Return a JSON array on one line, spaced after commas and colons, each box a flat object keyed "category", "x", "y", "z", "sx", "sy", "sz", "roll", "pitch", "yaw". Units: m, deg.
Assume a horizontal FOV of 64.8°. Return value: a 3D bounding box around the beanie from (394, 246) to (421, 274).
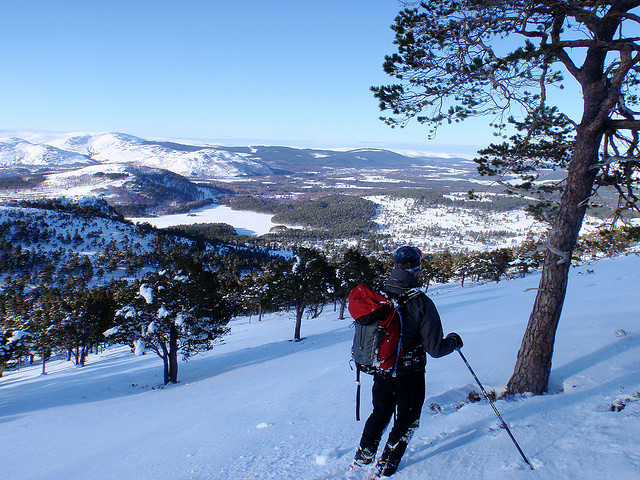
[{"category": "beanie", "x": 1.913, "y": 0.403, "z": 11.111, "sx": 0.541, "sy": 0.485, "sz": 0.653, "roll": 2, "pitch": 22, "yaw": 12}]
